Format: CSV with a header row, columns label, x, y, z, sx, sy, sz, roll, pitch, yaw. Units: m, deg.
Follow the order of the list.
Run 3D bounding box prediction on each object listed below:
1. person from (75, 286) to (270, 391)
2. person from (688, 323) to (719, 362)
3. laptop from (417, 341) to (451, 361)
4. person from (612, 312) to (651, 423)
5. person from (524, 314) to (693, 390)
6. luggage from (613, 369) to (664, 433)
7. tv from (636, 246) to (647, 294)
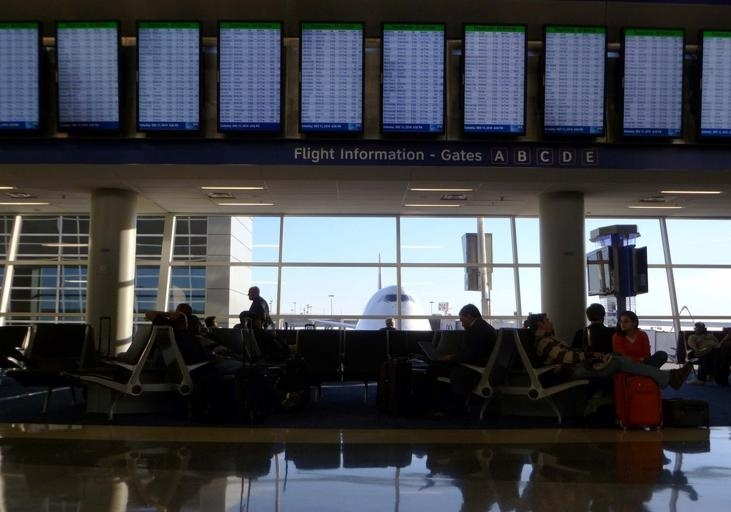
label,x,y,z,sx,sy,sz,roll,pitch,yaw
person,-2.633,1.308,11.476,2.095,1.055,1.249,4,-8,-29
person,6.210,1.600,15.014,0.715,0.686,0.407,-2,-21,0
laptop,0.956,1.336,11.412,0.339,0.197,0.360,-10,-10,30
person,3.699,1.495,11.221,0.570,1.434,0.613,-3,-1,10
person,3.210,1.246,10.900,2.116,0.879,0.766,2,-9,5
luggage,3.486,1.843,10.431,0.556,0.697,0.238,-2,-6,12
tv,4.571,0.224,13.493,0.173,0.751,0.373,-3,-6,18
